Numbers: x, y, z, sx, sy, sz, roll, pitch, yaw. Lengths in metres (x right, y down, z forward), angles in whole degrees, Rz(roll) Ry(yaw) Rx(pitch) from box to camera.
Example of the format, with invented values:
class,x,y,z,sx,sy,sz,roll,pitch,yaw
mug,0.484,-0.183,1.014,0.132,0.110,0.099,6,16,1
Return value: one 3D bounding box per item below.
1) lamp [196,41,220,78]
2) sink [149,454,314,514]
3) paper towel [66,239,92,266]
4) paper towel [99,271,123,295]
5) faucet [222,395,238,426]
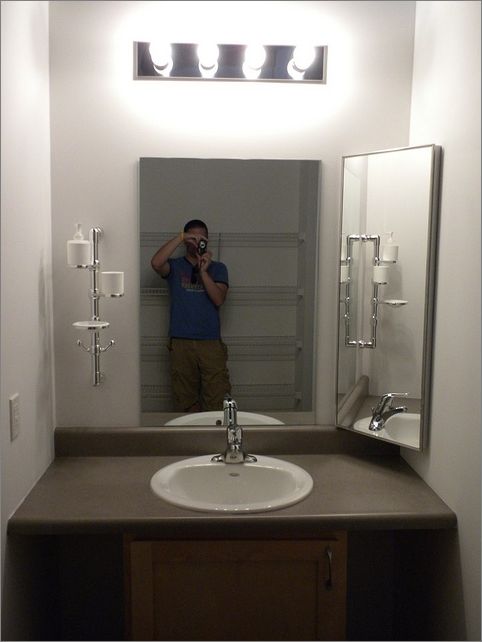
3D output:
class,x,y,z,sx,sy,sz,roll,pitch,yaw
lamp,-0.103,-0.821,1.725,0.072,0.095,0.053,-1,7,-5
sink,-0.027,0.512,1.580,0.477,0.120,0.364,-1,9,-2
paper towel,-0.468,-0.188,1.575,0.060,0.090,0.061,3,3,42
paper towel,-0.381,-0.108,1.603,0.049,0.076,0.058,0,4,-15
faucet,-0.037,0.282,1.761,0.039,0.088,0.155,-1,8,-3
